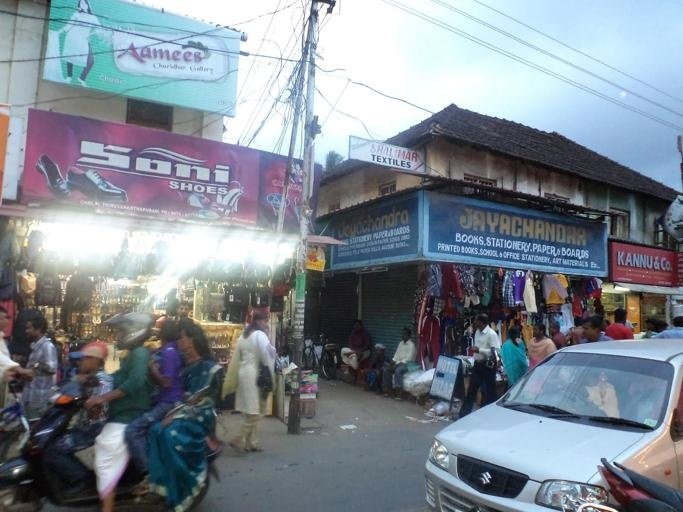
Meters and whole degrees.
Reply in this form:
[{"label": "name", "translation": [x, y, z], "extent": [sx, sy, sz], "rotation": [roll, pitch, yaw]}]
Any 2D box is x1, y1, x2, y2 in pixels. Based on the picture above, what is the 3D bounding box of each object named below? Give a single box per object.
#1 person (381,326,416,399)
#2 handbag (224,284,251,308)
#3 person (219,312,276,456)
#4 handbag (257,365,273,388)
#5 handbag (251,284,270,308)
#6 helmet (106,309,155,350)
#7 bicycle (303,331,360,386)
[{"label": "person", "translation": [1.375, 2.413, 14.074], "extent": [0.634, 1.497, 0.770], "rotation": [2, 3, -32]}, {"label": "handbag", "translation": [-2.059, 0.767, 12.208], "extent": [0.644, 0.385, 0.479], "rotation": [1, -5, 16]}, {"label": "person", "translation": [-1.443, 1.984, 9.985], "extent": [0.634, 2.156, 0.671], "rotation": [2, 3, -34]}, {"label": "handbag", "translation": [-1.206, 1.922, 9.881], "extent": [0.240, 0.340, 0.104], "rotation": [4, 3, 5]}, {"label": "handbag", "translation": [-1.585, 0.784, 12.304], "extent": [0.391, 0.581, 0.403], "rotation": [-3, -5, 35]}, {"label": "helmet", "translation": [-2.610, 0.909, 7.729], "extent": [0.486, 0.462, 0.372], "rotation": [5, 0, 6]}, {"label": "bicycle", "translation": [-0.410, 2.797, 16.960], "extent": [0.777, 1.005, 1.531], "rotation": [11, -11, -36]}]
